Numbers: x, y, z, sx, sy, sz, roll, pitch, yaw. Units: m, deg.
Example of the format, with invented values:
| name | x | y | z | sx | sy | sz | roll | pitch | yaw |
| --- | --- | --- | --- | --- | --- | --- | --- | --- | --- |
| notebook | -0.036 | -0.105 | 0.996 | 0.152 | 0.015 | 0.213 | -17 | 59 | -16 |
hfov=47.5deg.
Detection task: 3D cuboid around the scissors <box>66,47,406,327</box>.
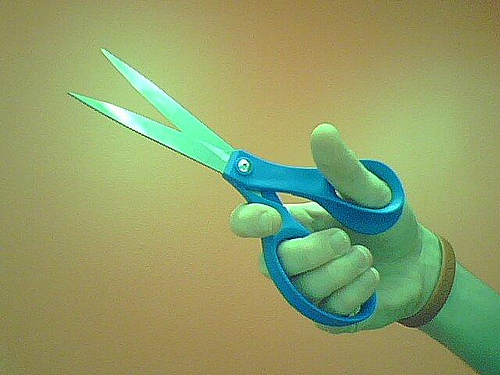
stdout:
| name | x | y | z | sx | sy | sz | roll | pitch | yaw |
| --- | --- | --- | --- | --- | --- | --- | --- | --- | --- |
| scissors | -0.044 | 0.020 | 0.953 | 0.553 | 0.082 | 0.314 | 37 | 59 | -6 |
